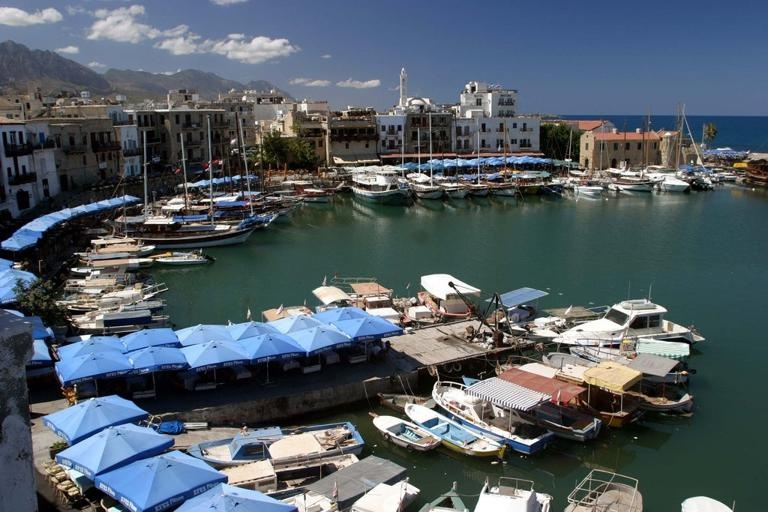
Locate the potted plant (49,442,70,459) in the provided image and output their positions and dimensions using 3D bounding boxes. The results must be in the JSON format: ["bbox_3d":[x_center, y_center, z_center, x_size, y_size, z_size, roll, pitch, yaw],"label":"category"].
[{"bbox_3d":[-13.540,7.941,23.207,0.969,0.372,0.623,-2,8,-37],"label":"potted plant"}]

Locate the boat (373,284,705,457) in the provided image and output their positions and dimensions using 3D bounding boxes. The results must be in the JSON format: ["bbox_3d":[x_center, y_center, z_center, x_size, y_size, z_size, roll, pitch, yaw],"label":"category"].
[{"bbox_3d":[8.594,3.995,36.188,17.758,4.033,11.798,-3,11,-4],"label":"boat"}]

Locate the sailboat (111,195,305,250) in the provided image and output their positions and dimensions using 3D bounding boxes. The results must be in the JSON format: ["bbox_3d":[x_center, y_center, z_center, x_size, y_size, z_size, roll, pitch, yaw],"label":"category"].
[{"bbox_3d":[-21.857,-2.700,62.660,12.723,3.778,2.929,-6,12,-17],"label":"sailboat"}]
